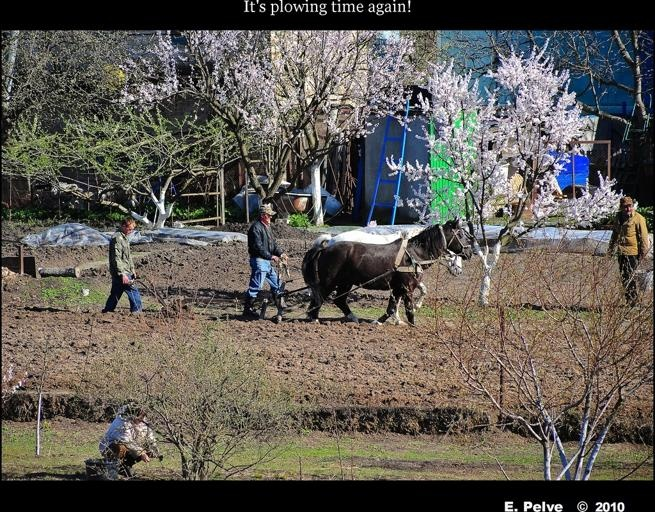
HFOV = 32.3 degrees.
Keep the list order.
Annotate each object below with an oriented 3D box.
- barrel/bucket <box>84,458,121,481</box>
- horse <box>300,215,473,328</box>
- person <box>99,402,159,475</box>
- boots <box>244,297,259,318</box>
[{"bbox_3d":[-3.601,3.425,18.084,0.352,0.300,0.384,3,-5,0],"label":"barrel/bucket"},{"bbox_3d":[1.314,0.381,22.957,2.189,1.671,0.687,2,2,-5],"label":"horse"},{"bbox_3d":[-3.157,2.921,18.039,0.938,1.172,0.417,0,5,-14],"label":"person"},{"bbox_3d":[-1.566,1.037,23.176,0.349,0.431,0.405,2,-4,0],"label":"boots"}]
